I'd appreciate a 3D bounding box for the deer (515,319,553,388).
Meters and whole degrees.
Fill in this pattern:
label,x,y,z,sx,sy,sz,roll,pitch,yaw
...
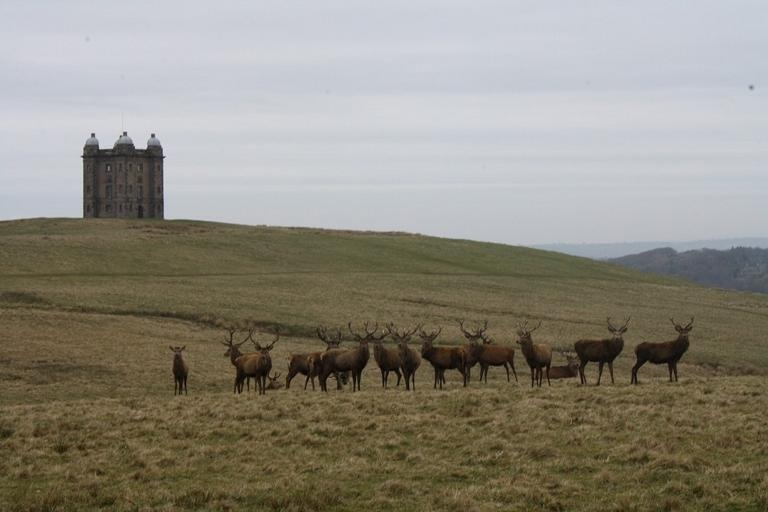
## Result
label,x,y,z,sx,sy,sz,roll,pitch,yaw
deer,9.917,6.527,89.969,2.495,4.625,2.381,-1,4,4

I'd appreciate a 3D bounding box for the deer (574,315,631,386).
label,x,y,z,sx,sy,sz,roll,pitch,yaw
deer,14.328,6.144,89.453,4.043,3.996,1.988,-3,-5,39
